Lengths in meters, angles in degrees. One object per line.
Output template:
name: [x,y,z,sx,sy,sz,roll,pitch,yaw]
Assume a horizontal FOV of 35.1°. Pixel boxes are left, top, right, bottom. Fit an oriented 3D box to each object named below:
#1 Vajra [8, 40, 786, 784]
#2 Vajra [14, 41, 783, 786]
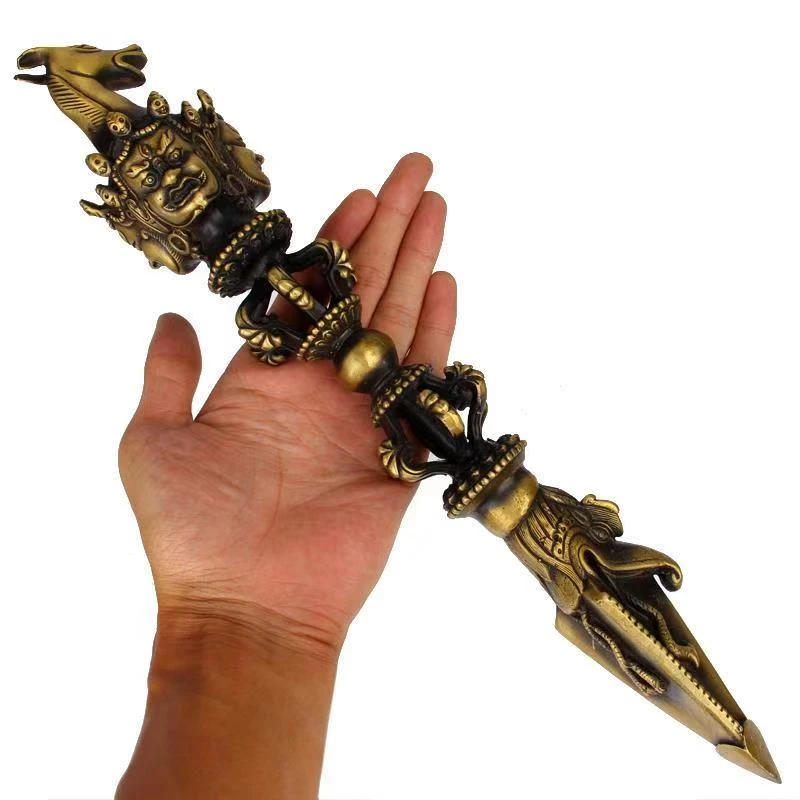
Vajra: [-0.244,0.192,3.676,3.221,0.430,0.618,33,-76,-1]
Vajra: [-0.244,0.194,3.676,3.171,0.431,0.608,34,-74,-1]
